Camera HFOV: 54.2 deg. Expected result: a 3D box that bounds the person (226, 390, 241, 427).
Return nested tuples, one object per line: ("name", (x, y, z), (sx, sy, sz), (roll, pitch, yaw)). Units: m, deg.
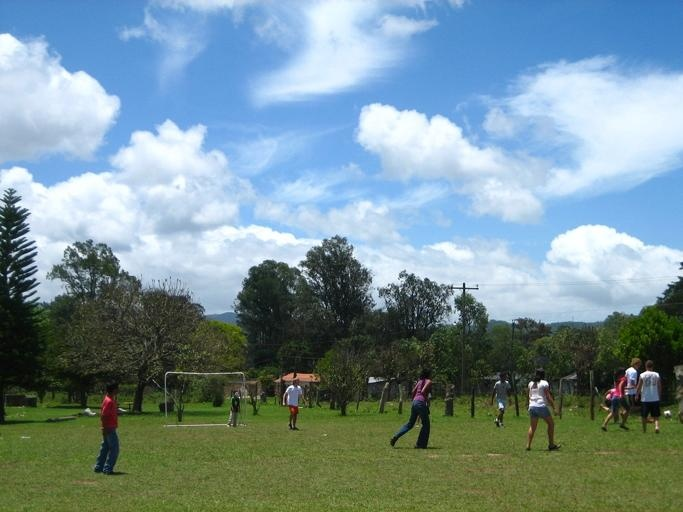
("person", (-5.060, 7.023, 31.179), (0.434, 1.681, 1.497), (5, -14, -9))
